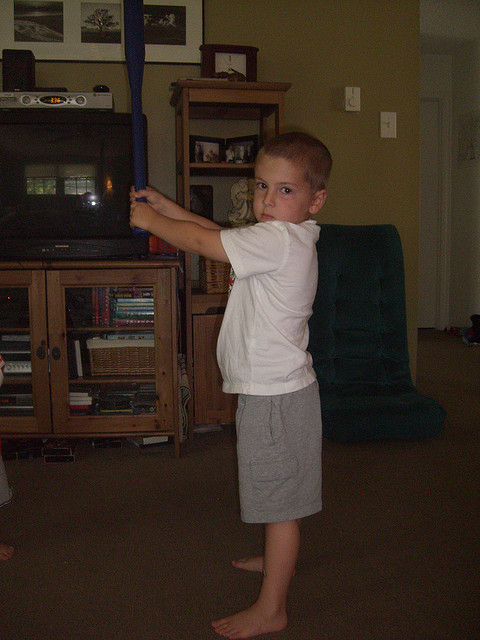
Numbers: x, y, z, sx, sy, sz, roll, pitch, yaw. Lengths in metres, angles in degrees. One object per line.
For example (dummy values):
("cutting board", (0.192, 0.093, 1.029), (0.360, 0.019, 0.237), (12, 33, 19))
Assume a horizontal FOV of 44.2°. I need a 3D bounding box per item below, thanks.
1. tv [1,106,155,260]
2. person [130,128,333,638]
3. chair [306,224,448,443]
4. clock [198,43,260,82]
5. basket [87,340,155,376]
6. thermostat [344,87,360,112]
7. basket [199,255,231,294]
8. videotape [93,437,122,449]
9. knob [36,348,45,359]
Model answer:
("tv", (-0.611, -0.488, 2.100), (0.647, 0.570, 0.342), (-1, 1, -6))
("person", (-0.014, 0.133, 1.283), (0.403, 1.047, 0.265), (0, 8, 6))
("chair", (0.548, 0.032, 2.511), (0.507, 0.864, 0.588), (-1, 8, -1))
("clock", (-0.052, -1.106, 2.548), (0.244, 0.145, 0.087), (-1, 8, -3))
("basket", (-0.455, 0.148, 2.258), (0.175, 0.102, 0.170), (-2, 9, -8))
("thermostat", (0.539, -1.069, 2.865), (0.083, 0.107, 0.043), (0, 3, -8))
("basket", (-0.113, -0.191, 2.510), (0.159, 0.236, 0.167), (0, 4, -5))
("videotape", (-0.533, 0.487, 2.366), (0.113, 0.047, 0.032), (-2, 9, -11))
("knob", (-0.726, 0.120, 2.148), (0.034, 0.033, 0.009), (25, -4, -13))
